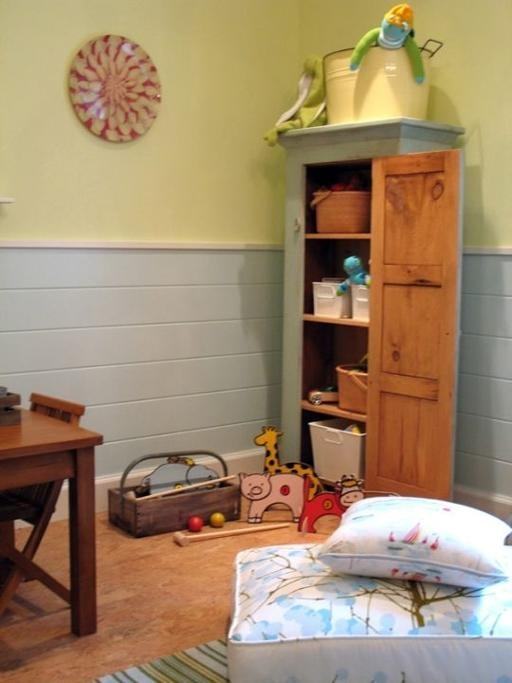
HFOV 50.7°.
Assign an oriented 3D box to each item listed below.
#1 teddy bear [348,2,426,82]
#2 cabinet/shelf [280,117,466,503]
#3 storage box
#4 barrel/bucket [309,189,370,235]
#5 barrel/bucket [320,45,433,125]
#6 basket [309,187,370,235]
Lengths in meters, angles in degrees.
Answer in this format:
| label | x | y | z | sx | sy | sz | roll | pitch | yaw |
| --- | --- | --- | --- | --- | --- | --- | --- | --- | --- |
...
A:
| label | x | y | z | sx | sy | sz | roll | pitch | yaw |
| --- | --- | --- | --- | --- | --- | --- | --- | --- | --- |
| teddy bear | 0.565 | -1.251 | 2.305 | 0.323 | 0.239 | 0.245 | 0 | 0 | 11 |
| cabinet/shelf | 0.542 | -0.171 | 2.569 | 0.595 | 1.383 | 1.098 | 0 | 0 | -27 |
| storage box | -0.398 | 0.677 | 2.582 | 0.589 | 0.364 | 0.411 | 1 | 0 | -26 |
| barrel/bucket | 0.405 | -0.609 | 2.660 | 0.242 | 0.165 | 0.250 | 0 | 9 | 0 |
| barrel/bucket | 0.522 | -1.112 | 2.479 | 0.468 | 0.284 | 0.381 | -3 | 11 | -16 |
| basket | 0.412 | -0.628 | 2.687 | 0.251 | 0.165 | 0.247 | -1 | 6 | 0 |
